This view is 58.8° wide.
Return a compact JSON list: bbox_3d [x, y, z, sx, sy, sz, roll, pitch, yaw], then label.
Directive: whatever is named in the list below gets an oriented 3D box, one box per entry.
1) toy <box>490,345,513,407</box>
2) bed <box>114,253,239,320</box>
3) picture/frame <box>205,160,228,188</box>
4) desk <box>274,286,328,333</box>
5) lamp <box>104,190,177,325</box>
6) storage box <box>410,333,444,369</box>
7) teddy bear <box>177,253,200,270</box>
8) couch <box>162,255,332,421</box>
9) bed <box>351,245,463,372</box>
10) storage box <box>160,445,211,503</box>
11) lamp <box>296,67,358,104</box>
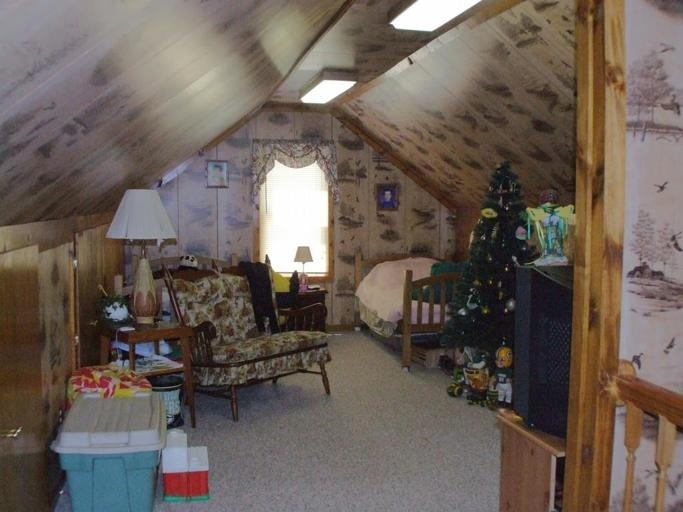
[{"bbox_3d":[1.296,0.970,4.855,0.124,0.494,0.263,2,6,14],"label":"toy"},{"bbox_3d":[-1.438,0.254,5.515,1.035,0.639,0.564,-10,13,-28],"label":"bed"},{"bbox_3d":[-1.504,-0.969,7.239,0.329,0.409,0.038,0,2,-22],"label":"picture/frame"},{"bbox_3d":[-0.524,0.655,6.651,0.595,0.581,0.435,-9,-1,-32],"label":"desk"},{"bbox_3d":[-1.410,0.015,4.293,0.458,0.955,0.483,-2,6,-17],"label":"lamp"},{"bbox_3d":[0.870,0.975,6.126,0.299,0.137,0.305,-3,13,-11],"label":"storage box"},{"bbox_3d":[-1.628,0.068,6.532,0.233,0.211,0.173,-9,15,-25],"label":"teddy bear"},{"bbox_3d":[-0.733,0.589,5.062,0.859,1.067,1.326,-1,2,42],"label":"couch"},{"bbox_3d":[0.854,0.514,6.961,1.148,1.030,1.864,-1,7,-10],"label":"bed"},{"bbox_3d":[-0.865,1.234,3.475,0.286,0.284,0.292,0,-2,-9],"label":"storage box"},{"bbox_3d":[-0.117,-1.725,6.159,0.424,0.152,1.077,-1,6,-12],"label":"lamp"}]
